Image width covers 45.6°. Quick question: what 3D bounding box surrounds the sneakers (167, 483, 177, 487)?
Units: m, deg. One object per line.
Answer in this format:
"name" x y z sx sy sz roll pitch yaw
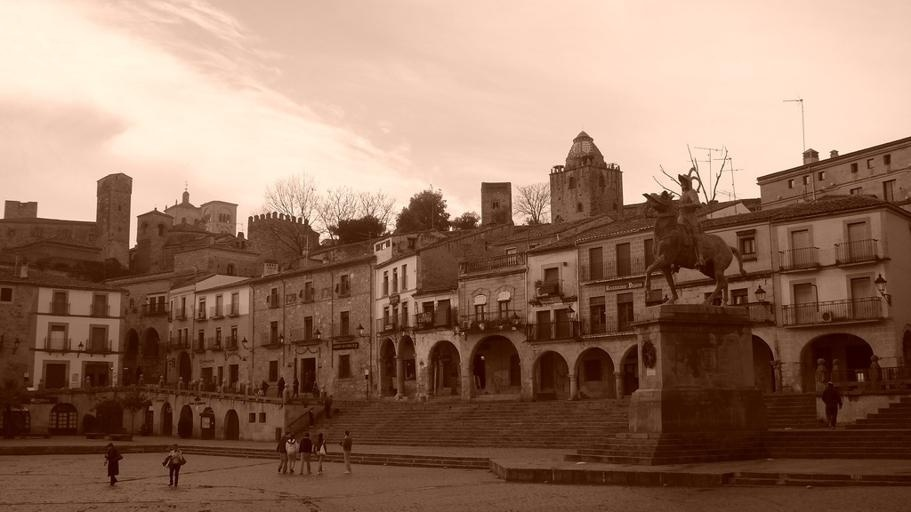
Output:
"sneakers" -15.520 12.415 59.533 0.444 0.265 0.134 5 -32 1

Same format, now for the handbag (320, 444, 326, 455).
"handbag" -7.766 11.165 63.378 0.313 0.520 0.544 1 -13 -3
